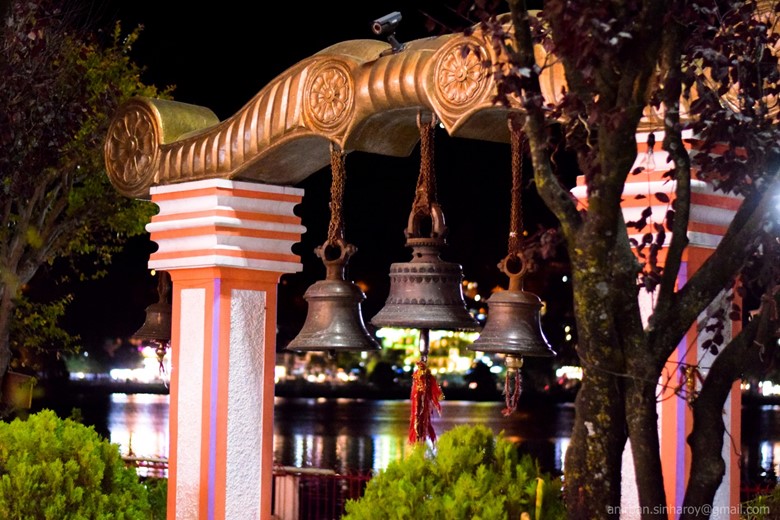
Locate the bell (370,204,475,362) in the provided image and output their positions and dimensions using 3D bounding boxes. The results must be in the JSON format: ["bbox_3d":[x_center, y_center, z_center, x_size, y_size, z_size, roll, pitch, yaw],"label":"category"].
[{"bbox_3d":[0.340,0.206,14.426,0.985,1.524,1.017,1,-4,9],"label":"bell"}]

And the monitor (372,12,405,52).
[{"bbox_3d":[-0.007,-2.195,14.288,0.206,0.373,0.332,3,23,43],"label":"monitor"}]

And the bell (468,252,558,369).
[{"bbox_3d":[1.177,0.425,13.970,0.852,0.999,0.878,0,-7,16],"label":"bell"}]

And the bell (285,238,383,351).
[{"bbox_3d":[-0.504,0.339,14.929,0.947,1.191,1.052,5,-8,-28],"label":"bell"}]
